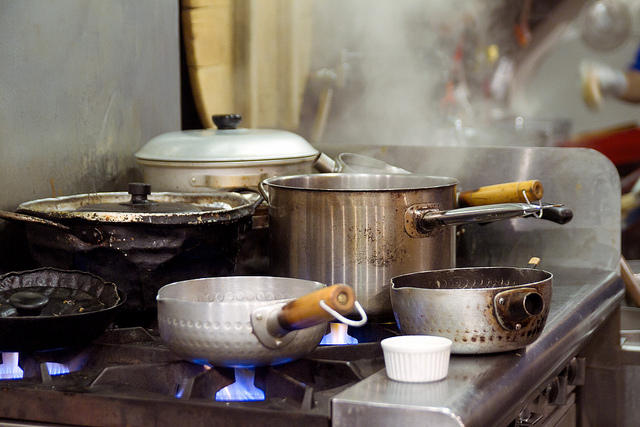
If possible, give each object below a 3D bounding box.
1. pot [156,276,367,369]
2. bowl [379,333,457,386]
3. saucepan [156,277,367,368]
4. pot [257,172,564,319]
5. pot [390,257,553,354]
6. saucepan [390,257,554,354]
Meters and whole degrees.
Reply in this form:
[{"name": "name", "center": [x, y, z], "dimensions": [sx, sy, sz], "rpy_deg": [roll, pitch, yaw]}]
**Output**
[{"name": "pot", "center": [-0.131, 0.169, 1.303], "dimensions": [0.199, 0.123, 0.322], "rpy_deg": [0, 3, -44]}, {"name": "bowl", "center": [0.176, 0.272, 1.290], "dimensions": [0.124, 0.075, 0.075], "rpy_deg": [2, 5, 9]}, {"name": "saucepan", "center": [-0.119, 0.170, 1.403], "dimensions": [0.499, 0.187, 0.337], "rpy_deg": [0, -2, -3]}, {"name": "pot", "center": [0.173, 0.046, 1.582], "dimensions": [0.584, 0.226, 0.345], "rpy_deg": [0, 0, 27]}, {"name": "pot", "center": [0.342, 0.189, 1.443], "dimensions": [0.342, 0.173, 0.436], "rpy_deg": [-5, 2, -11]}, {"name": "saucepan", "center": [0.327, 0.193, 1.440], "dimensions": [0.317, 0.157, 0.410], "rpy_deg": [-2, 0, -32]}]
